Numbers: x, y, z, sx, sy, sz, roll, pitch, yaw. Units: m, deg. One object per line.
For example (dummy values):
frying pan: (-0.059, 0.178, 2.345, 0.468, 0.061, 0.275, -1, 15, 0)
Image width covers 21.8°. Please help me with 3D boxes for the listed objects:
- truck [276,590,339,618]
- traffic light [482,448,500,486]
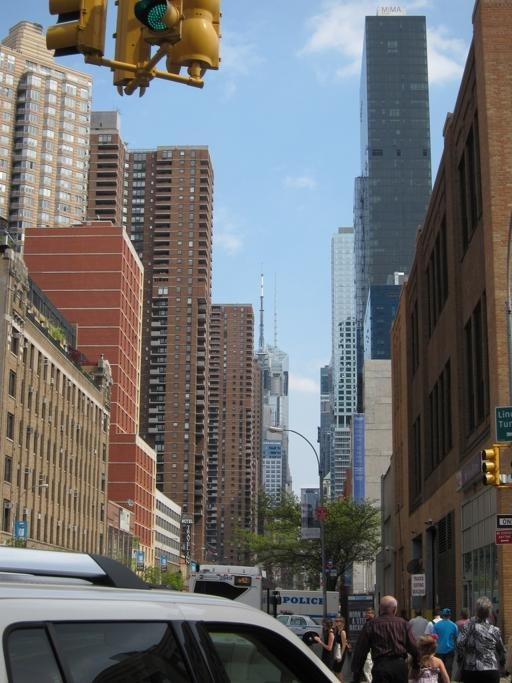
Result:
truck: (2.222, 10.923, 54.149, 2.812, 1.782, 1.373, 3, -9, -4)
traffic light: (3.293, 1.718, 18.790, 0.247, 0.612, 0.615, -3, -15, 10)
